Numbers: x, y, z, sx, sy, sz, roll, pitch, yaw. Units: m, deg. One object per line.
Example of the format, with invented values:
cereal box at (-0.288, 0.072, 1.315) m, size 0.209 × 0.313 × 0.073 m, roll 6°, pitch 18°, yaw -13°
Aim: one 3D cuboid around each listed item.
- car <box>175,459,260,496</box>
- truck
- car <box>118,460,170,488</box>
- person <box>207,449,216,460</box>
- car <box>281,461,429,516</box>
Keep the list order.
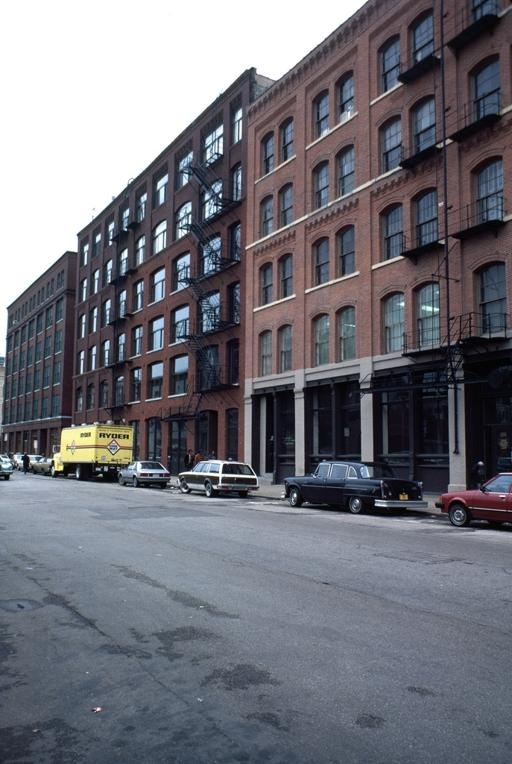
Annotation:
car at (-1.563, 3.778, 25.553) m, size 1.481 × 1.246 × 2.918 m, roll 7°, pitch -6°, yaw -28°
truck at (-9.879, 4.300, 39.389) m, size 2.937 × 3.288 × 6.022 m, roll 4°, pitch -6°, yaw -33°
car at (-5.649, 4.654, 31.986) m, size 3.030 × 1.307 × 1.224 m, roll -10°, pitch -14°, yaw 43°
person at (-2.491, 4.149, 36.066) m, size 0.406 × 0.840 × 0.427 m, roll 7°, pitch -11°, yaw -22°
car at (2.785, 3.181, 19.143) m, size 1.647 × 1.506 × 4.784 m, roll 7°, pitch -13°, yaw -35°
